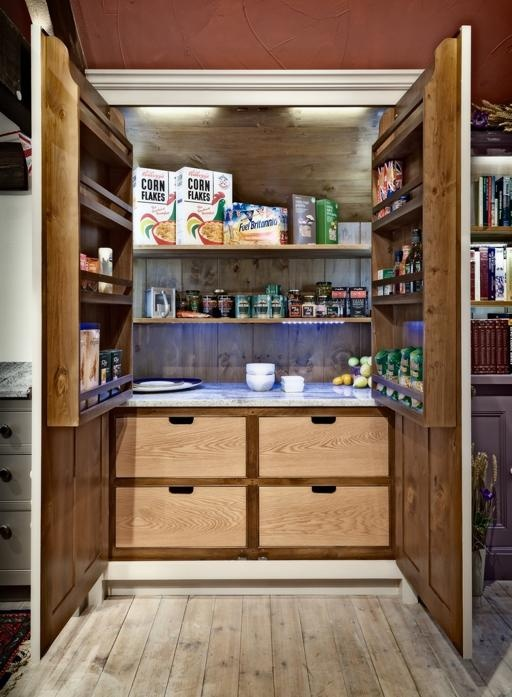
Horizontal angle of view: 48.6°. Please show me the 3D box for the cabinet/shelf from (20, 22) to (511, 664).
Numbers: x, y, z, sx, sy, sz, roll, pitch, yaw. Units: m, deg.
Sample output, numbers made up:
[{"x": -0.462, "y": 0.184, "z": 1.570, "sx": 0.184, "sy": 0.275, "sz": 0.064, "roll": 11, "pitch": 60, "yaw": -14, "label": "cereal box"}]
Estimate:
[{"x": 0.002, "y": -0.057, "z": 2.107, "sx": 1.386, "sy": 2.156, "sz": 0.900, "roll": -1, "pitch": 4, "yaw": -2, "label": "cabinet/shelf"}]

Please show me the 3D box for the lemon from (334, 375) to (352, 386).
[{"x": 0.430, "y": 0.159, "z": 2.846, "sx": 0.079, "sy": 0.049, "sz": 0.050, "roll": -3, "pitch": -24, "yaw": -25, "label": "lemon"}]

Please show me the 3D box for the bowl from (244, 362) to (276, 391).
[{"x": 0.020, "y": 0.131, "z": 2.611, "sx": 0.110, "sy": 0.111, "sz": 0.119, "roll": -1, "pitch": -4, "yaw": 0, "label": "bowl"}]
